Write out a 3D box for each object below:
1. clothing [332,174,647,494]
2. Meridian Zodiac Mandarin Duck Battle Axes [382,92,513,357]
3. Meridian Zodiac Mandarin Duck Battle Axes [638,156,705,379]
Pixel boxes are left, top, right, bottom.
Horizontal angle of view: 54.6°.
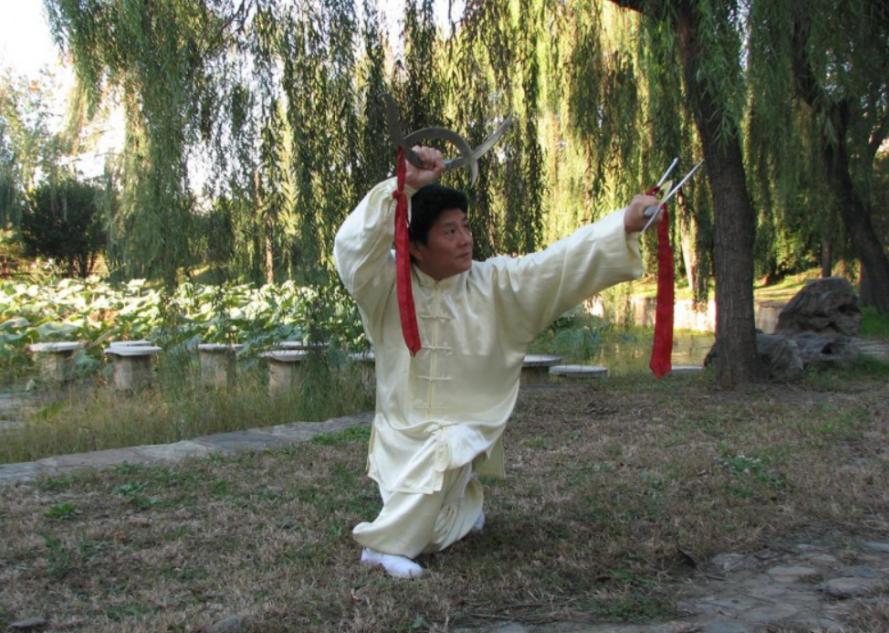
[{"bbox_3d":[0.296,0.110,5.671,1.922,2.782,1.641,0,32,1],"label":"clothing"},{"bbox_3d":[0.003,-0.532,5.714,0.767,2.033,0.228,-5,37,-8],"label":"Meridian Zodiac Mandarin Duck Battle Axes"},{"bbox_3d":[2.492,-0.508,9.358,0.321,2.103,1.781,4,17,28],"label":"Meridian Zodiac Mandarin Duck Battle Axes"}]
